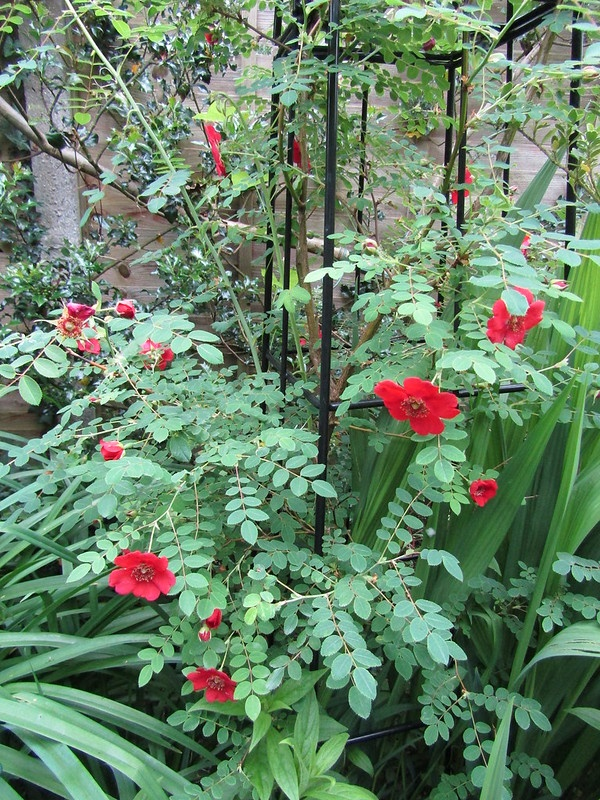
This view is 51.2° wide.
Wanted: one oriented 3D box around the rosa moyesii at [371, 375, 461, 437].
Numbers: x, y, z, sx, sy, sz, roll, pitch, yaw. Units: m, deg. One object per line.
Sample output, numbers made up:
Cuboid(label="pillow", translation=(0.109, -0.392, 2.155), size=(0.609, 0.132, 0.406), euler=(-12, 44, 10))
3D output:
Cuboid(label="rosa moyesii", translation=(0.164, 0.013, 0.866), size=(0.110, 0.104, 0.088), euler=(-1, 15, -11))

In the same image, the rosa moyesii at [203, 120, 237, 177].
Cuboid(label="rosa moyesii", translation=(-0.167, -0.536, 1.311), size=(0.058, 0.024, 0.086), euler=(10, -17, 4))

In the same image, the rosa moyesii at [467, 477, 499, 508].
Cuboid(label="rosa moyesii", translation=(0.293, 0.144, 1.014), size=(0.047, 0.046, 0.028), euler=(4, 16, -38))

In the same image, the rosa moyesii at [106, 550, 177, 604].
Cuboid(label="rosa moyesii", translation=(-0.222, 0.238, 0.896), size=(0.096, 0.082, 0.035), euler=(-18, 25, 8))

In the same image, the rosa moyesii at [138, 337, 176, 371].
Cuboid(label="rosa moyesii", translation=(-0.262, -0.083, 1.150), size=(0.060, 0.029, 0.051), euler=(19, 22, -17))

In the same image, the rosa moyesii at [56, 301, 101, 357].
Cuboid(label="rosa moyesii", translation=(-0.361, -0.116, 1.034), size=(0.067, 0.084, 0.093), euler=(2, 14, 1))
